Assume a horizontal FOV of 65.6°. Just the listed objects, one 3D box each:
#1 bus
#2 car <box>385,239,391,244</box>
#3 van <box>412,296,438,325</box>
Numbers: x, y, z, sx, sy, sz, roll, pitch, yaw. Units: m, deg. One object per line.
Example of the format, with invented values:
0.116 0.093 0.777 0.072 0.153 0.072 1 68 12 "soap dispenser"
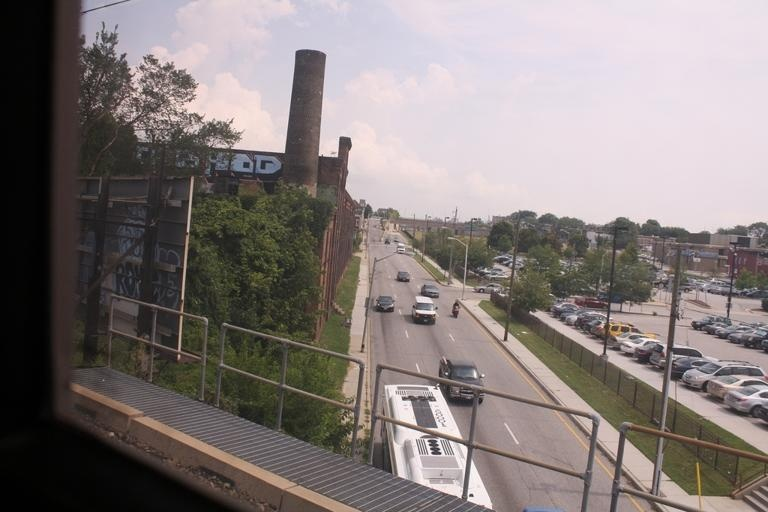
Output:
1.224 5.950 18.276 1.997 2.059 6.859 2 2 -4 "bus"
0.941 -4.205 163.854 1.056 1.182 2.037 -1 -3 -1 "car"
3.472 4.762 51.541 1.689 1.293 3.478 3 -5 -2 "van"
